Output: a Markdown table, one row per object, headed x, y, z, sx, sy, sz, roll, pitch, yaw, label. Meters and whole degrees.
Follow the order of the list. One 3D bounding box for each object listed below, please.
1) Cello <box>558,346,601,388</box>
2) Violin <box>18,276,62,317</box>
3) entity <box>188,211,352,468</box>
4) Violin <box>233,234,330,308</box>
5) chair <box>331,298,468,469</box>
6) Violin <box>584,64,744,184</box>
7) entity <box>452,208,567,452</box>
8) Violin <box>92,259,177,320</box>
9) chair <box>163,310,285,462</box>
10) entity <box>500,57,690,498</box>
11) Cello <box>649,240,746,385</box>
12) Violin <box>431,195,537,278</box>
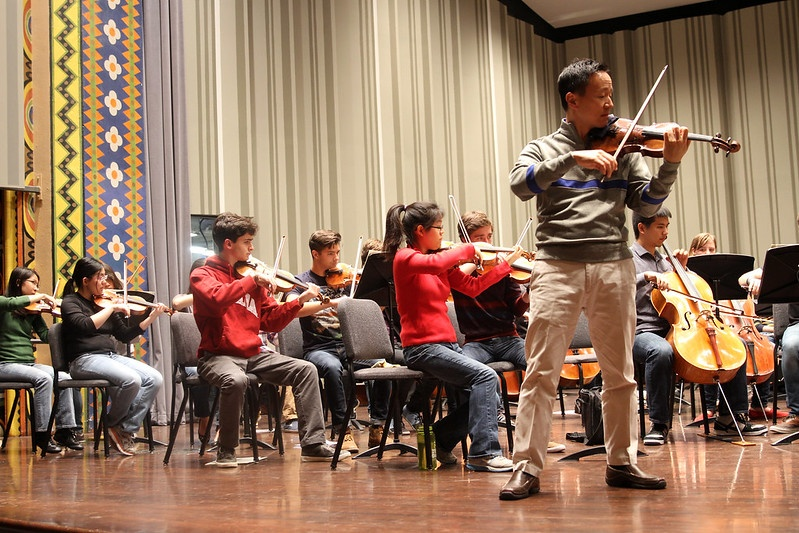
| x | y | z | sx | sy | sz | roll | pitch | yaw | label |
| --- | --- | --- | --- | --- | --- | --- | --- | --- | --- |
| 1.525 | 0.861 | 7.876 | 0.462 | 0.277 | 0.599 | -1 | 11 | 11 | Cello |
| -2.806 | 0.240 | 7.205 | 0.397 | 0.067 | 0.179 | 21 | 9 | 9 | Violin |
| -0.917 | 0.476 | 6.303 | 0.951 | 1.670 | 0.776 | 0 | -2 | -18 | entity |
| -0.839 | 0.118 | 6.689 | 0.762 | 0.127 | 0.309 | 17 | 21 | -21 | Violin |
| -0.089 | 0.724 | 5.978 | 0.699 | 0.990 | 0.726 | 0 | 0 | -4 | chair |
| 1.402 | -0.704 | 5.265 | 1.034 | 0.426 | 0.172 | 15 | -9 | 22 | Violin |
| 0.588 | 0.434 | 6.485 | 0.637 | 1.778 | 0.296 | -3 | -21 | -35 | entity |
| -2.152 | 0.218 | 7.286 | 0.106 | 0.307 | 0.722 | -38 | -36 | 25 | Violin |
| -1.294 | 0.815 | 6.688 | 0.664 | 1.058 | 0.712 | -7 | -3 | 10 | chair |
| 1.036 | 0.052 | 5.164 | 1.039 | 2.462 | 0.590 | -2 | -7 | 5 | entity |
| 1.996 | 0.289 | 6.602 | 0.404 | 1.115 | 0.226 | 9 | -47 | -31 | Cello |
| 0.679 | -0.110 | 7.198 | 0.431 | 0.177 | 1.064 | 7 | 27 | -32 | Violin |
